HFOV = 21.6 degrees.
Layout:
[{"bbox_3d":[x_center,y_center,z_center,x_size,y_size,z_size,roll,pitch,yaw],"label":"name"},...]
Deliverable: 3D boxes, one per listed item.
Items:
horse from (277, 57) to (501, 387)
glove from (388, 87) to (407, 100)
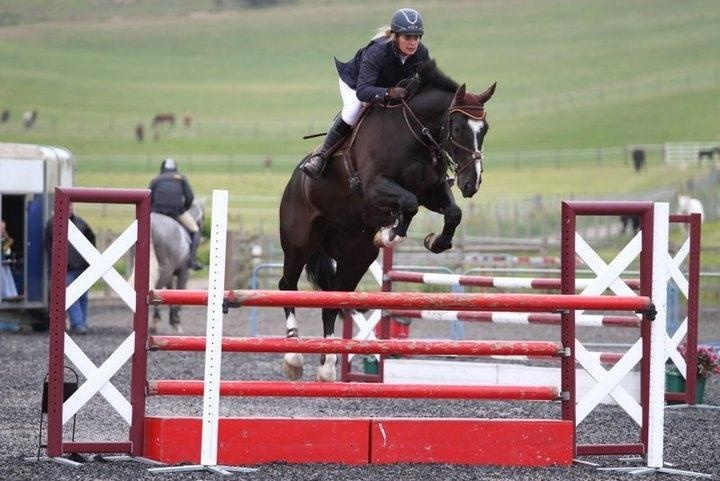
[{"bbox_3d":[0.556,-0.388,23.667,1.598,3.399,4.505,2,1,35],"label":"horse"},{"bbox_3d":[0.446,-1.802,23.006,0.233,0.138,0.090,0,3,-8],"label":"glove"}]
